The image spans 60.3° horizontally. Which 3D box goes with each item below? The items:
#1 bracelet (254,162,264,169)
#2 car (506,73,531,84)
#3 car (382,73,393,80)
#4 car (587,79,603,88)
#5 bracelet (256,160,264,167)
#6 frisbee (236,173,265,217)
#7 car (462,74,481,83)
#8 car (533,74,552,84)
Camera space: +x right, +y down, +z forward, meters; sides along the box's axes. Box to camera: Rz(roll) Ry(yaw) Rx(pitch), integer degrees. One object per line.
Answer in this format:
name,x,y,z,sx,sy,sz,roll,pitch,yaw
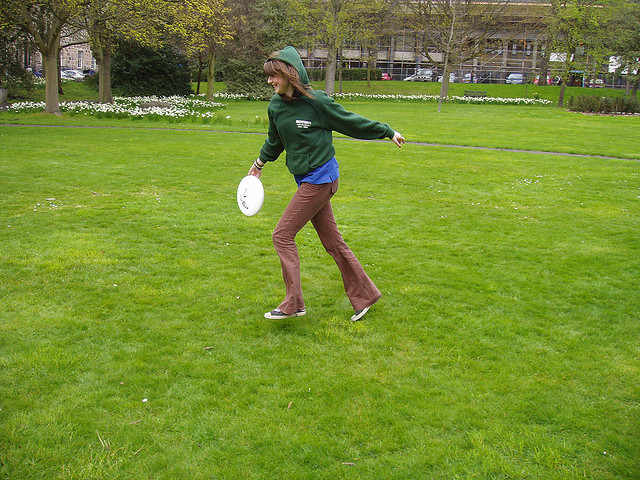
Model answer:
bracelet,-0.728,-0.874,6.473,0.128,0.029,0.116,20,-21,18
car,22.510,-18.373,62.739,1.870,1.210,2.829,2,9,7
car,8.216,-20.002,68.045,1.463,0.816,2.012,3,17,4
car,30.706,-17.359,61.472,1.556,1.074,5.631,7,15,24
bracelet,-0.726,-0.895,6.521,0.070,0.075,0.142,-2,14,-9
frisbee,-0.762,-0.512,6.324,0.383,0.439,0.127,-2,4,37
car,17.643,-18.763,64.349,1.176,0.817,1.730,-8,15,-34
car,25.099,-17.938,61.929,1.931,1.019,5.410,6,15,19
